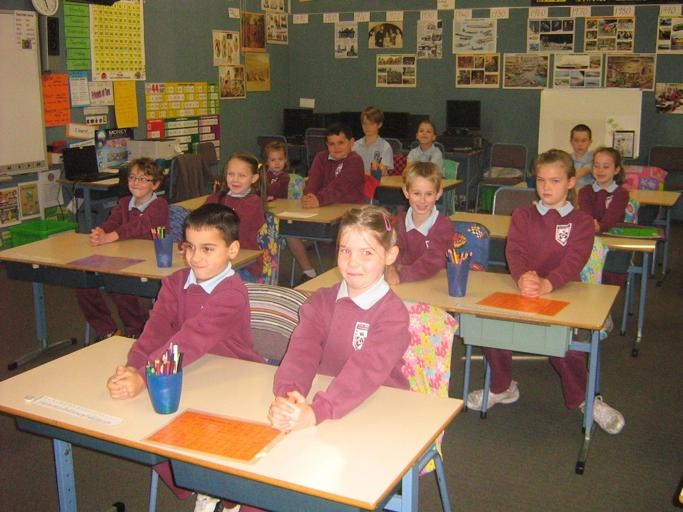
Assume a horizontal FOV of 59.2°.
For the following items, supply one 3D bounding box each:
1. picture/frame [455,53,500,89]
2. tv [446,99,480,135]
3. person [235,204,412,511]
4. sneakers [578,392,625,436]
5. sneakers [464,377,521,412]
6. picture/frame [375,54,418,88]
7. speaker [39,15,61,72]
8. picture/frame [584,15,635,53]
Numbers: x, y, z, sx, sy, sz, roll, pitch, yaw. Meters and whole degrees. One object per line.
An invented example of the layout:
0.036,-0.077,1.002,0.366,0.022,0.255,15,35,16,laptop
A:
1.896,-2.580,8.359,0.611,0.454,0.051,4,17,19,picture/frame
1.691,-1.942,8.315,0.487,0.407,0.065,5,11,26,tv
-0.028,0.352,1.994,0.405,0.977,0.696,10,19,35,person
1.334,0.822,3.102,0.101,0.118,0.277,38,0,-12,sneakers
0.853,0.784,3.403,0.356,0.163,0.125,-7,21,-12,sneakers
0.817,-2.738,8.774,0.537,0.372,0.021,5,16,22,picture/frame
-2.826,-2.043,5.773,0.094,0.522,0.239,4,16,18,speaker
3.457,-2.876,7.701,0.506,0.352,0.021,6,12,25,picture/frame
